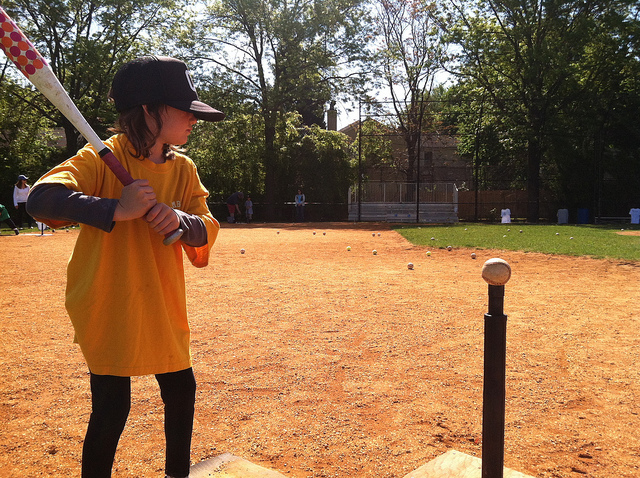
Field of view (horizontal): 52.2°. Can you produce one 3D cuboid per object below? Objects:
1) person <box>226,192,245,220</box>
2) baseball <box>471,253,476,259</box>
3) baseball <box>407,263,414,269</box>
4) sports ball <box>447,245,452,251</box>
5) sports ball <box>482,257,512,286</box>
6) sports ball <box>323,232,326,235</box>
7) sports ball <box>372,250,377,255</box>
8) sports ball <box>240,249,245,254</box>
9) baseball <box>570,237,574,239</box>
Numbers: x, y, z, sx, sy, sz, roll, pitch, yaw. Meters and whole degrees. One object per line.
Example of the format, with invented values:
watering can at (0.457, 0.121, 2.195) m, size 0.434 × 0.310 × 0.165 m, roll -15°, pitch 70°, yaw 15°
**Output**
person at (-4.073, -1.618, 31.117) m, size 0.627 × 0.552 × 1.354 m, roll -8°, pitch -24°, yaw -23°
baseball at (3.171, 0.353, 13.534) m, size 0.076 × 0.086 × 0.084 m, roll 8°, pitch 13°, yaw 35°
baseball at (1.675, 0.500, 12.077) m, size 0.085 × 0.080 × 0.078 m, roll 4°, pitch -36°, yaw -11°
sports ball at (3.012, 0.222, 15.235) m, size 0.090 × 0.099 × 0.093 m, roll -9°, pitch -13°, yaw -2°
sports ball at (1.283, 0.235, 4.773) m, size 0.208 × 0.235 × 0.214 m, roll 7°, pitch -7°, yaw 1°
sports ball at (0.138, -0.181, 22.071) m, size 0.102 × 0.095 × 0.117 m, roll 1°, pitch -6°, yaw -4°
sports ball at (1.230, 0.302, 14.747) m, size 0.076 × 0.086 × 0.077 m, roll 0°, pitch 10°, yaw 0°
sports ball at (-1.829, 0.300, 15.369) m, size 0.085 × 0.089 × 0.088 m, roll 1°, pitch 5°, yaw 0°
baseball at (6.982, -0.032, 18.119) m, size 0.064 × 0.050 × 0.229 m, roll 17°, pitch 5°, yaw 10°
